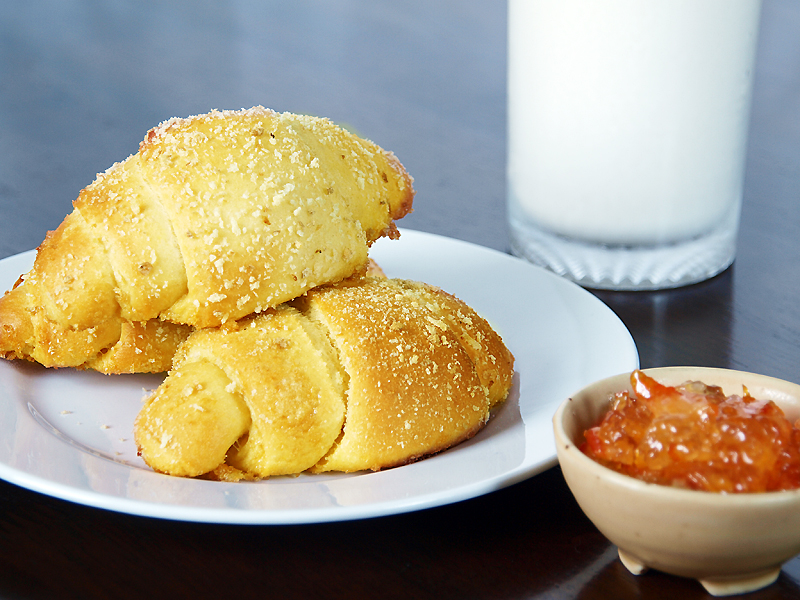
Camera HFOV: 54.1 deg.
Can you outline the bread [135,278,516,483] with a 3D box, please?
[{"bbox_3d":[-0.061,0.072,0.719,0.341,0.091,0.190,-9,39,-6],"label":"bread"}]
